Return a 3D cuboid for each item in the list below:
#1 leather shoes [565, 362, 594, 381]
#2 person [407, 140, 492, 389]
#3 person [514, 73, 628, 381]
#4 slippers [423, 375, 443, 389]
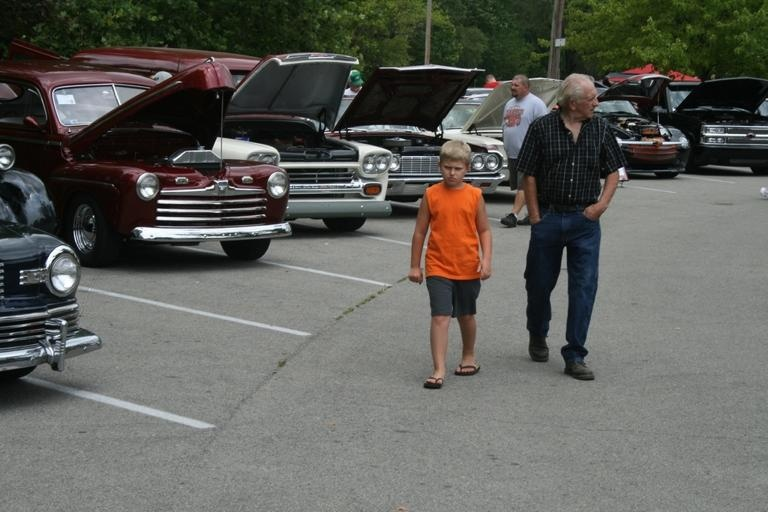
[{"bbox_3d":[1.496,0.884,5.134,0.097,0.095,0.257,-4,3,-35],"label":"leather shoes"},{"bbox_3d":[0.515,0.038,5.082,0.651,1.797,0.618,-6,14,-26],"label":"person"},{"bbox_3d":[1.484,-0.272,5.368,0.789,2.325,0.793,11,16,37],"label":"person"},{"bbox_3d":[0.363,0.926,4.932,0.146,0.081,0.109,1,12,1],"label":"slippers"}]
